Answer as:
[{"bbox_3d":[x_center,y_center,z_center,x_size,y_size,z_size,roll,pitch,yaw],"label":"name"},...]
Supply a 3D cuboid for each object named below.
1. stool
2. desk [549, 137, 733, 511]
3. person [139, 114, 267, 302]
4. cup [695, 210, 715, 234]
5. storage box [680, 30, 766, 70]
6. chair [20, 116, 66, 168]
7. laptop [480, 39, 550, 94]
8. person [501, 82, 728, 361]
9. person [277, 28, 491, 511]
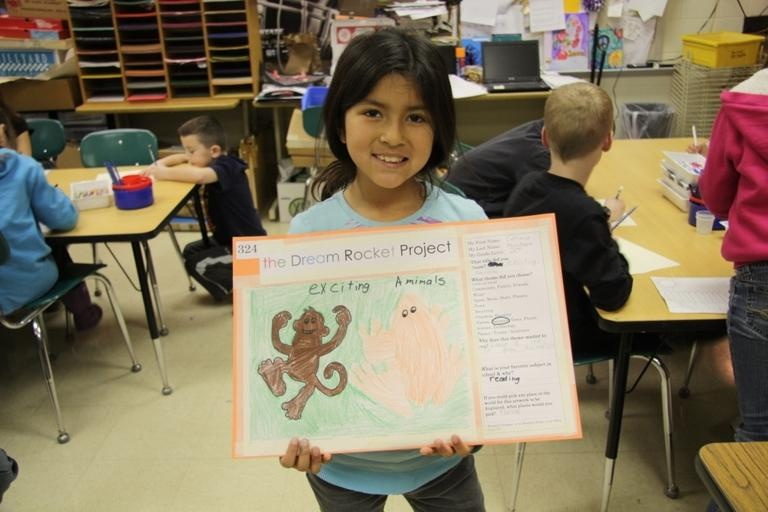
[{"bbox_3d":[0.897,0.636,2.929,0.764,1.090,0.660,-3,13,7],"label":"stool"},{"bbox_3d":[1.055,0.308,2.427,0.547,0.761,1.510,2,31,10],"label":"desk"},{"bbox_3d":[-1.126,-0.204,3.825,0.712,1.302,0.725,9,13,21],"label":"person"},{"bbox_3d":[1.406,-0.157,2.598,0.094,0.091,0.091,-3,13,1],"label":"cup"},{"bbox_3d":[2.414,-1.461,4.308,0.361,0.185,0.487,-5,18,-2],"label":"storage box"},{"bbox_3d":[-2.245,-0.783,4.031,0.322,0.370,0.311,-6,20,-29],"label":"chair"},{"bbox_3d":[0.998,-1.478,4.553,0.580,0.395,0.435,-2,21,-1],"label":"laptop"},{"bbox_3d":[0.874,-0.150,2.430,0.576,1.037,0.624,-25,30,-38],"label":"person"},{"bbox_3d":[0.008,0.089,1.741,0.567,1.405,0.682,0,24,10],"label":"person"}]
